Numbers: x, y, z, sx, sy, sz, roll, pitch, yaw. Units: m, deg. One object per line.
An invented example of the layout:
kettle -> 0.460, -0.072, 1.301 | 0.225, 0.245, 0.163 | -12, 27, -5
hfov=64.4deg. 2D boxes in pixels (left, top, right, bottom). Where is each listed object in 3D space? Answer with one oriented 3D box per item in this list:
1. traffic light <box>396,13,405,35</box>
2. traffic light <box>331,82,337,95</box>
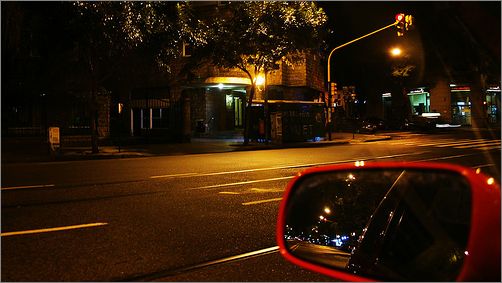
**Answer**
traffic light -> 9.012, -6.998, 23.984 | 0.487, 1.111, 1.614 | 2, 4, 20
traffic light -> 6.690, -4.225, 32.162 | 0.440, 1.046, 0.846 | 2, 3, 16
